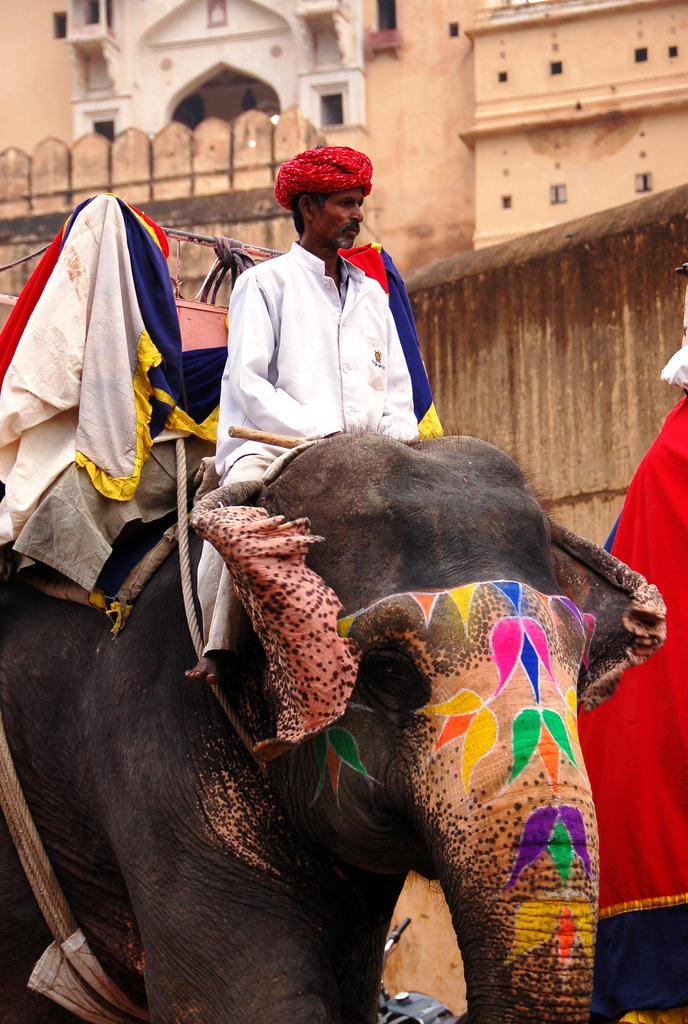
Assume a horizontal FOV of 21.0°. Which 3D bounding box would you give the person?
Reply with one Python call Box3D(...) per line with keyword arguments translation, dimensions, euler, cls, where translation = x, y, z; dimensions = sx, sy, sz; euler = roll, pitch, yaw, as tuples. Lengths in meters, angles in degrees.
Box3D(translation=(-0.042, -0.154, 3.195), dimensions=(0.354, 0.954, 0.330), euler=(4, -6, -18), cls="person")
